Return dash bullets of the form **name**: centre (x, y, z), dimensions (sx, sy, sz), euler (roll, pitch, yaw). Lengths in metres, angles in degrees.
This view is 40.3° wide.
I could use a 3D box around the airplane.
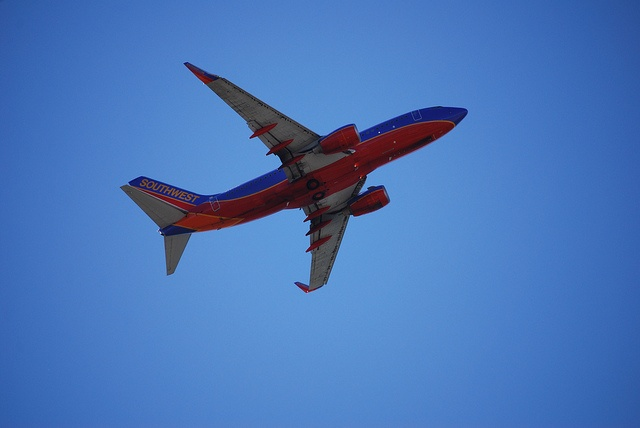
- **airplane**: centre (-2.673, -1.805, 58.406), dimensions (19.322, 7.014, 12.865), euler (7, -80, -5)
